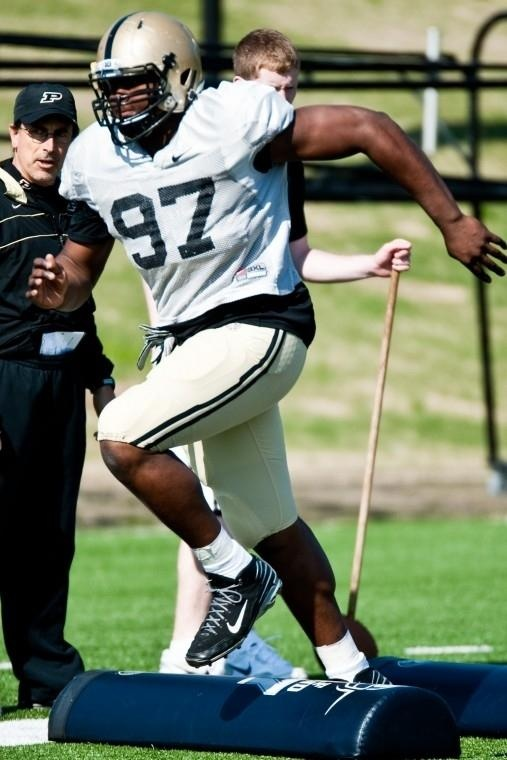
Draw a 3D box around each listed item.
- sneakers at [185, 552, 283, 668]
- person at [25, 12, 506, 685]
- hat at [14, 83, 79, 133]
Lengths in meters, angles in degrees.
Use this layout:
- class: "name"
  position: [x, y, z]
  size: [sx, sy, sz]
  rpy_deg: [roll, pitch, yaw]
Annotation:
- class: "sneakers"
  position: [-0.042, 0.500, 2.292]
  size: [0.131, 0.224, 0.278]
  rpy_deg: [7, 13, 21]
- class: "person"
  position: [-0.068, -0.044, 2.388]
  size: [0.827, 1.532, 0.615]
  rpy_deg: [14, 19, 42]
- class: "hat"
  position: [-0.603, -0.788, 3.081]
  size: [0.144, 0.083, 0.182]
  rpy_deg: [0, 3, -15]
